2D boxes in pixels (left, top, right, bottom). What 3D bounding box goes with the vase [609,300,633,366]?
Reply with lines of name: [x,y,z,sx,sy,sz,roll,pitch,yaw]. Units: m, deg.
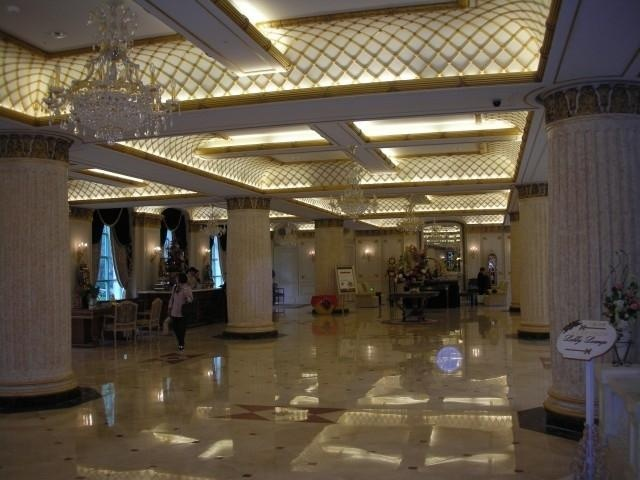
vase: [3.764,1.157,6.254,0.228,0.817,0.582,-2,-3,32]

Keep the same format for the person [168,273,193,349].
person: [-3.729,1.878,13.260,0.536,1.980,1.250,0,-3,-18]

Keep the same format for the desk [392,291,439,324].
desk: [3.437,2.549,18.342,1.445,0.923,1.511,-2,-1,32]

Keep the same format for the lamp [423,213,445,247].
lamp: [6.043,-0.350,27.317,0.932,1.478,2.083,-1,-2,13]

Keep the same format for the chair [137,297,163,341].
chair: [-5.221,2.368,15.309,0.724,1.224,2.831,0,-3,-20]

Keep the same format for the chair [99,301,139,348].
chair: [-5.783,2.333,14.327,0.906,1.230,2.074,0,-3,-24]

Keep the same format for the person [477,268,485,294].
person: [8.354,2.161,25.854,0.414,1.409,0.732,-2,-3,32]

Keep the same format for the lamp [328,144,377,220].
lamp: [0.888,-1.420,14.345,1.513,2.273,1.540,3,1,21]

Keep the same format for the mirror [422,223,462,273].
mirror: [6.294,0.354,26.045,2.708,3.715,0.190,-1,-2,-8]
